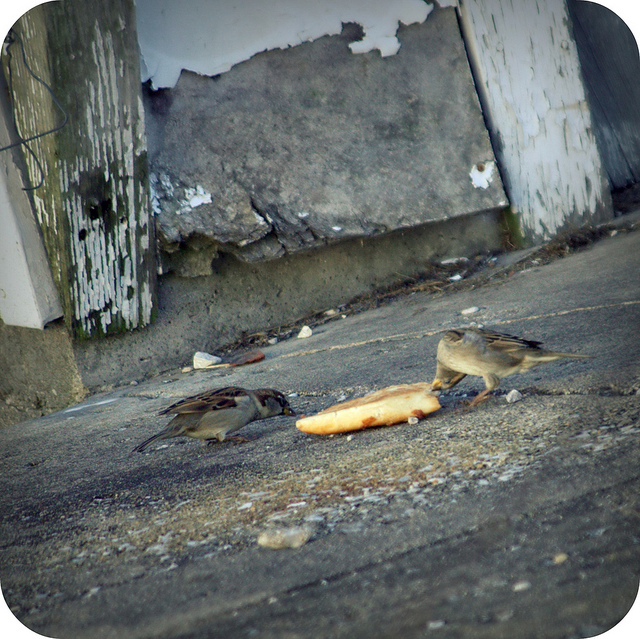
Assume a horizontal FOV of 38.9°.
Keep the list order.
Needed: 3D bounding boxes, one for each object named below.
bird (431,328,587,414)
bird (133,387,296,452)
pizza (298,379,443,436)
[{"bbox_3d":[0.573,0.126,2.817,0.473,0.251,0.328,-13,2,-6],"label":"bird"},{"bbox_3d":[-0.375,0.335,3.080,0.252,0.211,0.581,-12,1,40],"label":"bird"},{"bbox_3d":[0.155,0.292,2.867,0.447,0.153,0.149,-12,2,5],"label":"pizza"}]
